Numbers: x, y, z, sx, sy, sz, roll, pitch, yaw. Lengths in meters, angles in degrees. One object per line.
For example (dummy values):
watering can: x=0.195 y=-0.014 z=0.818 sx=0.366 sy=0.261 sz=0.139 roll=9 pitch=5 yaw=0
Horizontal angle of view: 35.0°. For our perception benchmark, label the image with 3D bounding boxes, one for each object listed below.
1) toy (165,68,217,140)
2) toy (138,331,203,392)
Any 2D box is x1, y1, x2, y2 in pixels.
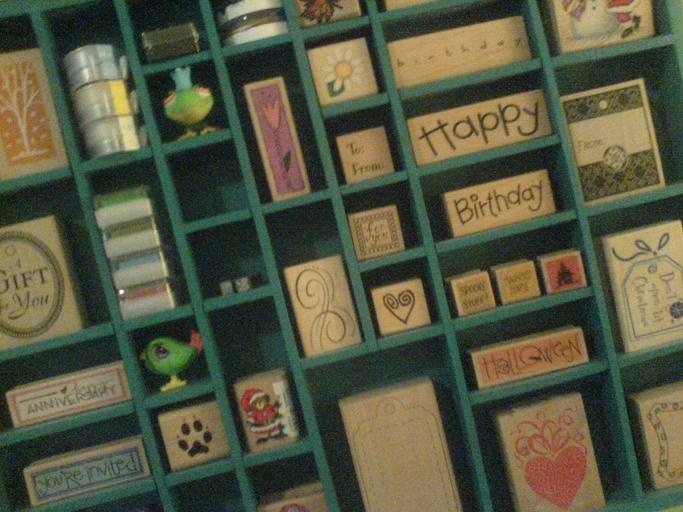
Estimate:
toy: x=-0.704 y=-0.698 z=4.992 sx=0.245 sy=0.307 sz=0.239 roll=-13 pitch=-2 yaw=-6
toy: x=-0.752 y=0.467 z=4.959 sx=0.316 sy=0.302 sz=0.214 roll=-1 pitch=-4 yaw=-3
